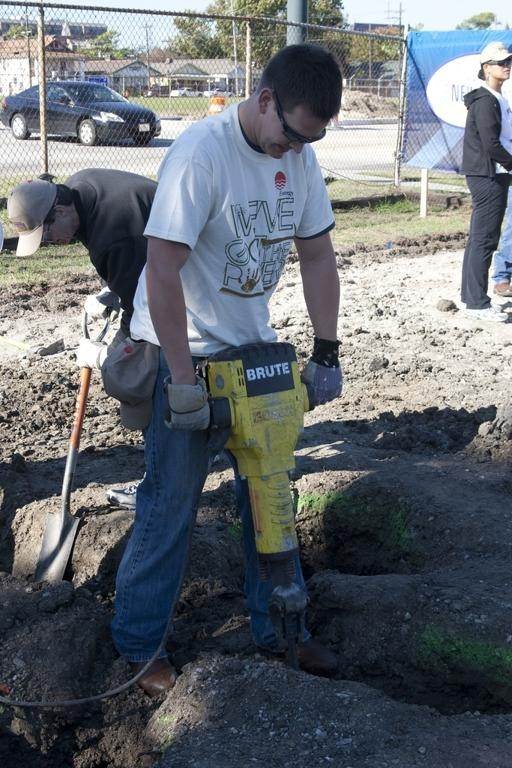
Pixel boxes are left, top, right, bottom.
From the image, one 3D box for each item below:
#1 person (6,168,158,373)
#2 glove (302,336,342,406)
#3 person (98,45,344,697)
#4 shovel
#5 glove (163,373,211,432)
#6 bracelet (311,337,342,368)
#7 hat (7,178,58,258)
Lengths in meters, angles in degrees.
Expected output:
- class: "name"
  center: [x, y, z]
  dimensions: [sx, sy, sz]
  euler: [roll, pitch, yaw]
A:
- class: "person"
  center: [-0.673, -0.473, 3.139]
  dimensions: [0.595, 0.900, 0.609]
  euler: [32, 27, 29]
- class: "glove"
  center: [0.211, -0.031, 2.497]
  dimensions: [0.185, 0.217, 0.171]
  euler: [10, 18, 21]
- class: "person"
  center: [-0.075, 0.025, 2.253]
  dimensions: [0.787, 1.917, 0.588]
  euler: [-5, 15, -17]
- class: "shovel"
  center: [-0.746, 0.279, 3.085]
  dimensions: [0.360, 1.088, 0.376]
  euler: [8, 30, -31]
- class: "glove"
  center: [-0.186, 0.063, 2.008]
  dimensions: [0.118, 0.164, 0.115]
  euler: [-2, 14, -6]
- class: "bracelet"
  center: [0.239, -0.112, 2.579]
  dimensions: [0.104, 0.097, 0.100]
  euler: [12, 5, 18]
- class: "hat"
  center: [-0.875, -0.662, 2.974]
  dimensions: [0.188, 0.322, 0.196]
  euler: [17, 23, 29]
